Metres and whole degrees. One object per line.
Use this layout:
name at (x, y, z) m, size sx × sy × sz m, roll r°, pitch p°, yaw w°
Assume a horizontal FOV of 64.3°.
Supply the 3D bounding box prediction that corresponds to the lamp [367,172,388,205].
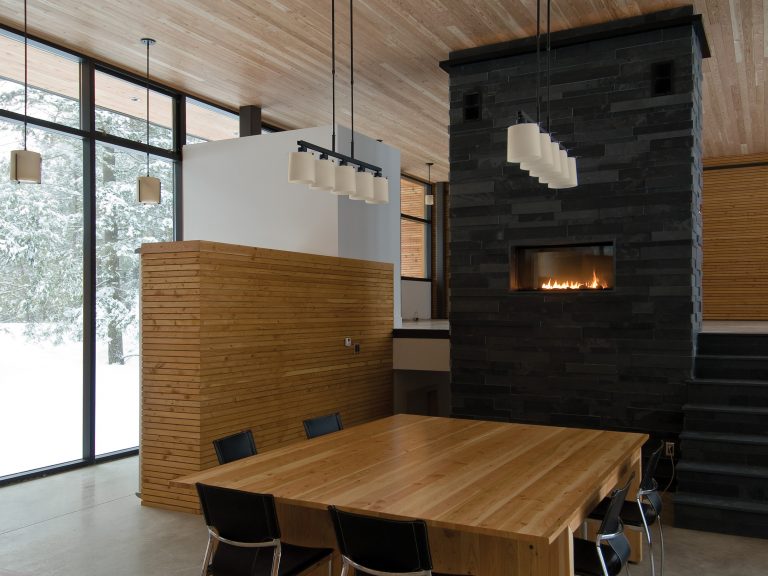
lamp at (-0.030, -0.728, 4.563) m, size 0.225 × 0.197 × 0.204 m, roll 1°, pitch -2°, yaw -22°

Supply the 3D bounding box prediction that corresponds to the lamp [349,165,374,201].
lamp at (-0.121, -0.758, 4.488) m, size 0.247 × 0.210 × 0.227 m, roll 0°, pitch -1°, yaw 10°

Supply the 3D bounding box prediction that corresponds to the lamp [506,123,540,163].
lamp at (0.965, -0.969, 4.113) m, size 0.217 × 0.237 × 0.245 m, roll 0°, pitch 3°, yaw 12°

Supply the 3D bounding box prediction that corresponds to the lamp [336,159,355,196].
lamp at (-0.269, -0.779, 4.353) m, size 0.138 × 0.228 × 0.230 m, roll 0°, pitch 3°, yaw -1°

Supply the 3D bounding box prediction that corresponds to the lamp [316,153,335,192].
lamp at (-0.409, -0.801, 4.274) m, size 0.138 × 0.249 × 0.204 m, roll -1°, pitch 3°, yaw -4°
